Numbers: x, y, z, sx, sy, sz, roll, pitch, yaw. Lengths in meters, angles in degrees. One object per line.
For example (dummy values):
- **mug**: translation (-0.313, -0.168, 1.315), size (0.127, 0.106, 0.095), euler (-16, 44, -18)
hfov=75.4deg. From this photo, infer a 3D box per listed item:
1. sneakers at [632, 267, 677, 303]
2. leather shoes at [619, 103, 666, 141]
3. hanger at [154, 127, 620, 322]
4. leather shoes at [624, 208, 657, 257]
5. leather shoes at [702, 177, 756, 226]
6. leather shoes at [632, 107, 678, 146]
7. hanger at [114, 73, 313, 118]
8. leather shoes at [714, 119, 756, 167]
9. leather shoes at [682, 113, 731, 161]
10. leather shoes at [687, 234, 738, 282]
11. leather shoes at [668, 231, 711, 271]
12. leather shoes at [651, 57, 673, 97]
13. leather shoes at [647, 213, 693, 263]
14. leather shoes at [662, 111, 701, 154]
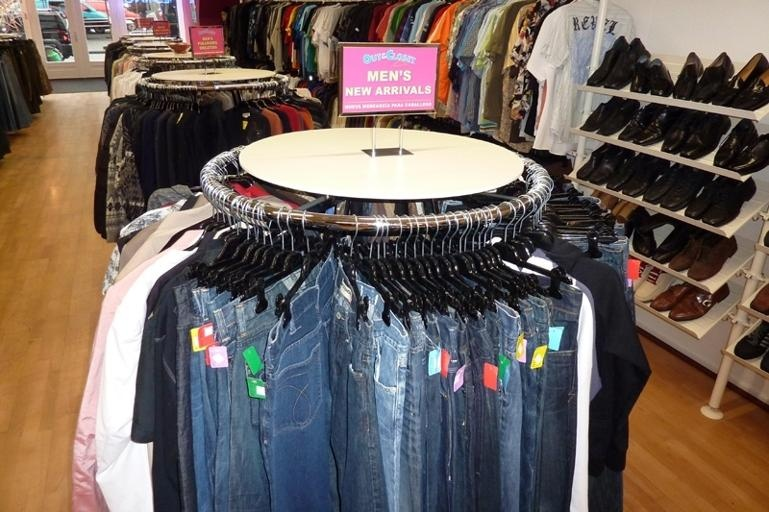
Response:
- **sneakers**: translation (1.739, 0.144, 3.245), size (0.098, 0.111, 0.308), euler (25, 69, 6)
- **leather shoes**: translation (1.615, -0.832, 3.104), size (0.283, 0.102, 0.086), euler (-46, 40, 3)
- **hanger**: translation (0.053, -0.104, 1.964), size (1.571, 0.402, 0.843), euler (-2, 30, -8)
- **leather shoes**: translation (1.603, -0.144, 3.108), size (0.108, 0.128, 0.345), euler (-16, 32, 18)
- **leather shoes**: translation (1.978, -0.312, 2.846), size (0.262, 0.111, 0.088), euler (-44, 36, 2)
- **leather shoes**: translation (1.650, -0.832, 3.058), size (0.171, 0.190, 0.517), euler (29, 21, 37)
- **hanger**: translation (-1.210, -1.240, 3.733), size (1.254, 0.278, 0.826), euler (-21, 37, -34)
- **leather shoes**: translation (1.958, -0.626, 2.768), size (0.095, 0.109, 0.299), euler (30, 72, 41)
- **leather shoes**: translation (1.859, -0.683, 2.863), size (0.295, 0.107, 0.098), euler (-47, 49, -3)
- **leather shoes**: translation (1.934, 0.013, 2.926), size (0.250, 0.103, 0.092), euler (-47, 36, -2)
- **leather shoes**: translation (1.860, -0.044, 3.032), size (0.399, 0.168, 0.118), euler (-27, 37, -33)
- **leather shoes**: translation (1.639, -1.047, 2.969), size (0.112, 0.103, 0.257), euler (-14, 73, 29)
- **leather shoes**: translation (1.737, -0.092, 3.080), size (0.405, 0.169, 0.125), euler (-41, 47, -5)
- **leather shoes**: translation (1.767, -0.732, 2.938), size (0.079, 0.098, 0.273), euler (34, 86, 42)
